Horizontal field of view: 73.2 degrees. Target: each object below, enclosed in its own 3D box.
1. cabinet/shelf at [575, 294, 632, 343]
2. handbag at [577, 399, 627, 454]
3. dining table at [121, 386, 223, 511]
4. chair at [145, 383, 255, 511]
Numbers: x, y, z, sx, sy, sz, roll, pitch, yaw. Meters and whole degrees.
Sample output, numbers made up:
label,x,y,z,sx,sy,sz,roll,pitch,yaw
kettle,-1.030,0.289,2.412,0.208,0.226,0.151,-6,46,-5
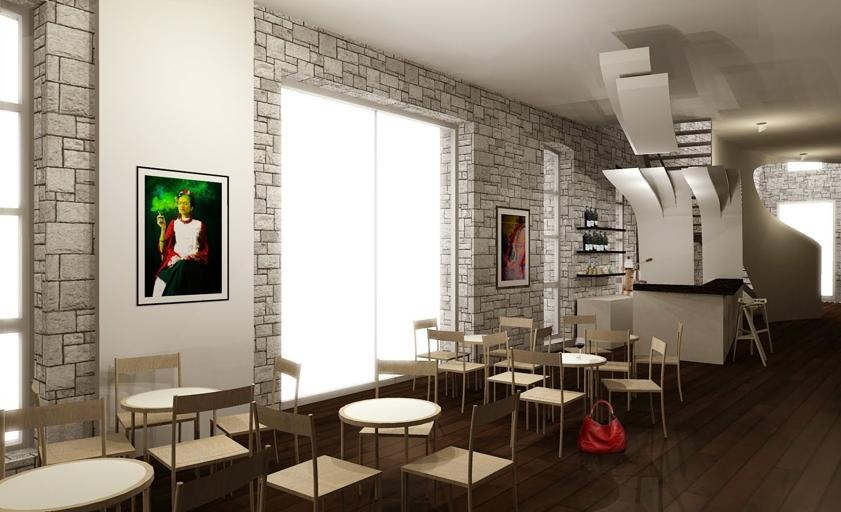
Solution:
label,x,y,z,sx,sy,sz,roll,pitch,yaw
cabinet/shelf,3.902,1.522,11.878,1.540,0.929,0.782,0,0,-42
handbag,2.162,2.072,6.845,0.640,0.587,0.296,2,5,-5
dining table,-2.634,1.863,6.029,0.847,0.570,0.834,4,4,44
chair,-2.194,1.845,5.618,0.940,1.063,1.469,-3,0,-26
